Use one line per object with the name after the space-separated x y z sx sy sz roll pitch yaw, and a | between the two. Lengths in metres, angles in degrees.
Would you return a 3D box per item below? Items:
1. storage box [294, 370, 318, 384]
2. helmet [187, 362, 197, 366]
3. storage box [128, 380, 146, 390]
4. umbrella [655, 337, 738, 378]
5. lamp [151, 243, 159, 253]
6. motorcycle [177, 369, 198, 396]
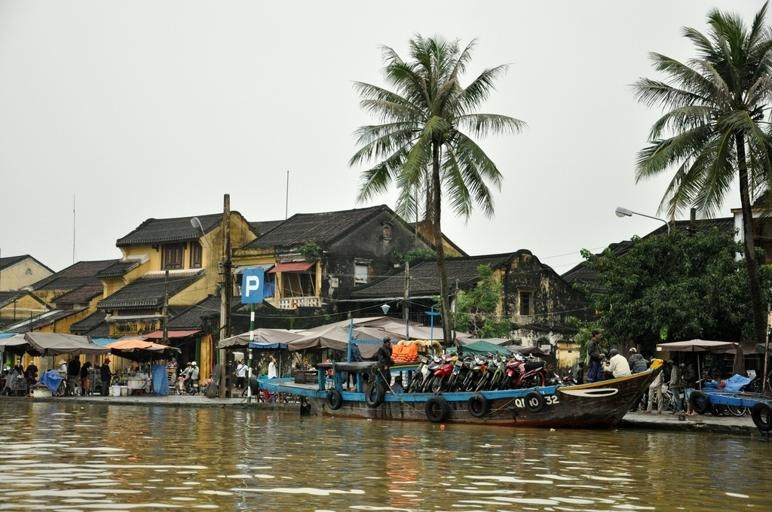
-3.035 4.596 42.943 0.585 0.396 0.889 -3 -5 24 | storage box
-9.565 5.294 55.566 0.330 0.167 0.454 0 3 -25 | helmet
-11.200 5.700 50.455 0.579 0.391 0.403 2 -4 -18 | storage box
11.015 3.188 39.141 2.250 1.257 2.259 2 -10 2 | umbrella
-13.290 -0.464 65.218 0.288 0.499 0.480 3 5 -12 | lamp
-9.312 5.869 53.128 0.807 0.988 1.524 3 -2 -19 | motorcycle
